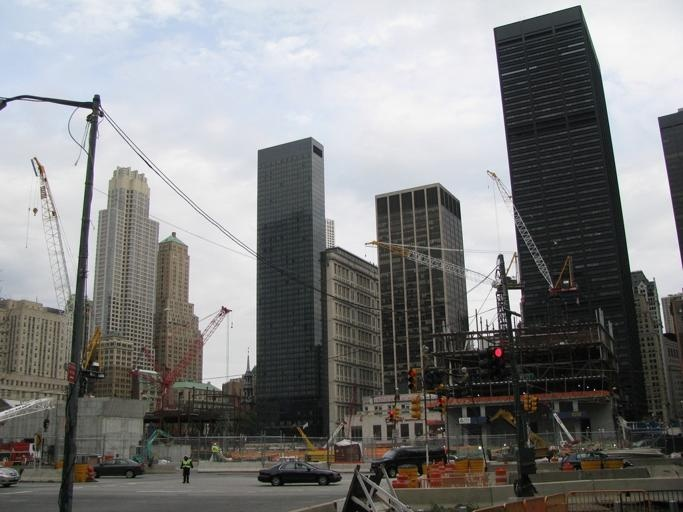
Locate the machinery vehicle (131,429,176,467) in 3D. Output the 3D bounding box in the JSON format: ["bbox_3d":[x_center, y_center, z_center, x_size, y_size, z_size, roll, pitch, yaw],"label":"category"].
[{"bbox_3d":[-20.935,21.291,86.129,4.000,3.739,0.748,-2,-9,-36],"label":"machinery vehicle"}]

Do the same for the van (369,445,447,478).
[{"bbox_3d":[5.679,16.801,62.923,3.248,2.747,6.859,-16,-23,36],"label":"van"}]

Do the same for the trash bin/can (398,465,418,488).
[{"bbox_3d":[4.571,14.896,51.336,1.520,1.364,1.487,-4,-7,4],"label":"trash bin/can"}]

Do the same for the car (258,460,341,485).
[{"bbox_3d":[-3.308,16.503,58.255,5.644,1.682,0.896,-4,-19,8],"label":"car"}]
